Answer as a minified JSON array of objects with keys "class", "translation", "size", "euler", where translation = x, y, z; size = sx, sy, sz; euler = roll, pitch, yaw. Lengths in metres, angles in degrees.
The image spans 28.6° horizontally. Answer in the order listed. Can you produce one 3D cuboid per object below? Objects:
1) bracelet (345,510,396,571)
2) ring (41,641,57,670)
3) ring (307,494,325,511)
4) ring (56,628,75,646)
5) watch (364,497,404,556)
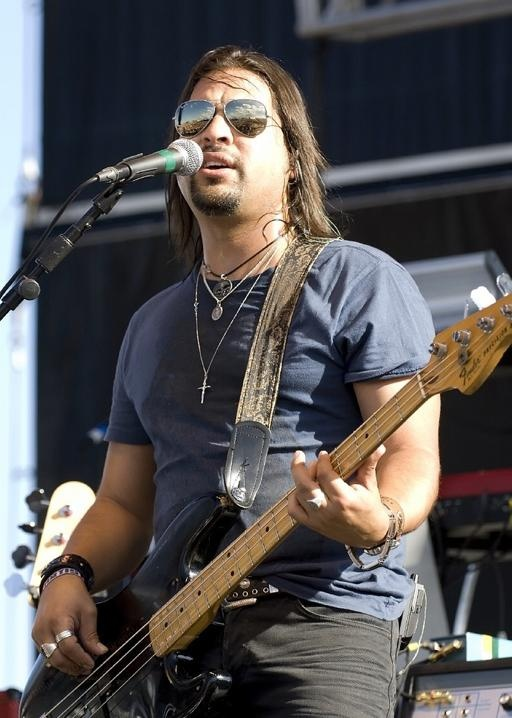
[{"class":"bracelet","translation":[0.230,0.342,1.838],"size":[0.123,0.130,0.044],"euler":[-4,-14,25]},{"class":"ring","translation":[-0.460,0.664,2.268],"size":[0.027,0.061,0.049],"euler":[0,4,30]},{"class":"ring","translation":[0.104,0.243,1.725],"size":[0.032,0.030,0.018],"euler":[-1,2,12]},{"class":"ring","translation":[-0.422,0.615,2.225],"size":[0.036,0.009,0.038],"euler":[-29,-3,-2]},{"class":"watch","translation":[0.242,0.293,1.798],"size":[0.077,0.092,0.069],"euler":[4,9,33]}]
